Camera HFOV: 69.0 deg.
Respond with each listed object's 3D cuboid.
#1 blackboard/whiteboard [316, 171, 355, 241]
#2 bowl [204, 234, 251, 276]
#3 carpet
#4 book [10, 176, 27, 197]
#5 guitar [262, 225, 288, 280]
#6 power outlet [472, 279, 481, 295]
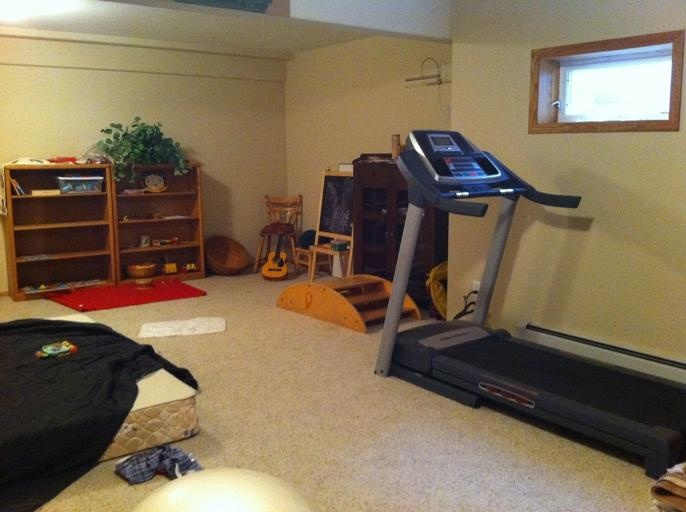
[{"bbox_3d":[-0.075,-0.613,6.495,0.072,1.059,0.899,-3,8,-39],"label":"blackboard/whiteboard"},{"bbox_3d":[-1.654,0.002,7.176,0.647,0.501,0.669,0,13,0],"label":"bowl"},{"bbox_3d":[-2.591,0.459,5.947,1.601,0.083,0.962,-8,15,-31],"label":"carpet"},{"bbox_3d":[-3.755,-0.781,5.742,0.058,0.207,0.218,-33,6,-37],"label":"book"},{"bbox_3d":[-0.950,-0.039,6.843,0.318,0.676,0.510,-2,13,-10],"label":"guitar"},{"bbox_3d":[1.211,0.288,4.530,0.090,0.122,0.047,-2,3,18],"label":"power outlet"}]
